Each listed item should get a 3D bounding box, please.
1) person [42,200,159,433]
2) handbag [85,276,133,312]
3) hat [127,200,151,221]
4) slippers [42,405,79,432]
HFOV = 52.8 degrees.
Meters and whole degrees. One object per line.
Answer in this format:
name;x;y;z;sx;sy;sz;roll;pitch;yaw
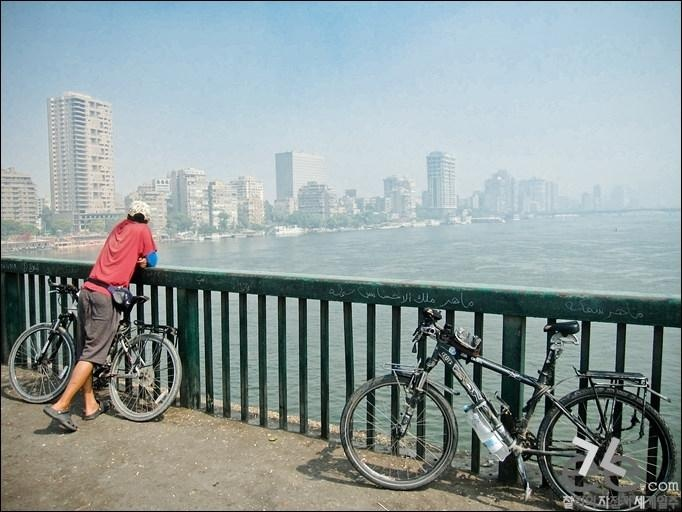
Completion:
person;-2.633;0.596;7.503;0.555;2.251;1.583;7;15;27
handbag;-2.494;0.421;7.512;0.448;0.218;0.337;25;9;-7
hat;-2.309;-0.529;7.831;0.187;0.215;0.250;10;32;-8
slippers;-2.897;1.671;7.099;0.301;0.264;0.327;-4;14;-17
